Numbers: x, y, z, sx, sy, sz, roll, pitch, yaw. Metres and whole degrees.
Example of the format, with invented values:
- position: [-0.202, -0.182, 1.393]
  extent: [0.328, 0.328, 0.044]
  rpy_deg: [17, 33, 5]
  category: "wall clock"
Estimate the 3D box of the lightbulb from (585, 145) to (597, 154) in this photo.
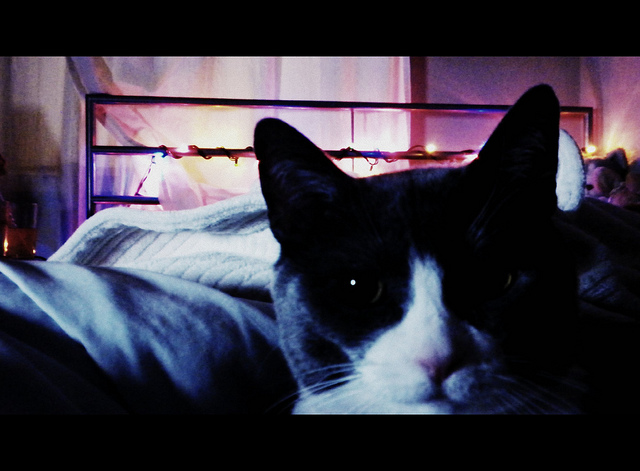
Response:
- position: [0.883, -0.280, 2.395]
  extent: [0.046, 0.028, 0.013]
  rpy_deg: [-9, 10, -28]
  category: "lightbulb"

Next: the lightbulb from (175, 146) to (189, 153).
- position: [-0.451, -0.282, 2.432]
  extent: [0.053, 0.019, 0.018]
  rpy_deg: [1, 10, 33]
  category: "lightbulb"

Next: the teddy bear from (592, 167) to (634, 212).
- position: [0.932, -0.151, 2.348]
  extent: [0.039, 0.137, 0.121]
  rpy_deg: [-14, 12, -42]
  category: "teddy bear"
